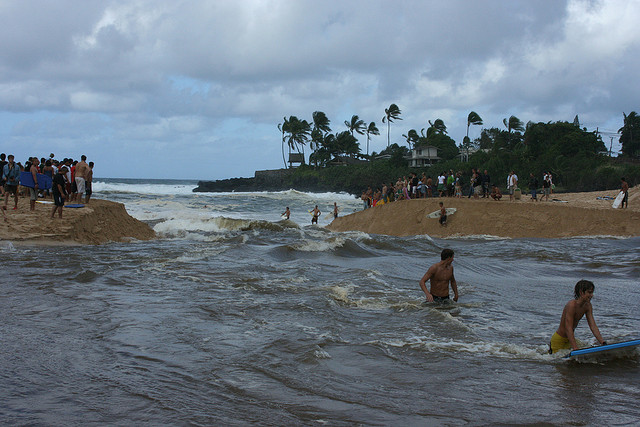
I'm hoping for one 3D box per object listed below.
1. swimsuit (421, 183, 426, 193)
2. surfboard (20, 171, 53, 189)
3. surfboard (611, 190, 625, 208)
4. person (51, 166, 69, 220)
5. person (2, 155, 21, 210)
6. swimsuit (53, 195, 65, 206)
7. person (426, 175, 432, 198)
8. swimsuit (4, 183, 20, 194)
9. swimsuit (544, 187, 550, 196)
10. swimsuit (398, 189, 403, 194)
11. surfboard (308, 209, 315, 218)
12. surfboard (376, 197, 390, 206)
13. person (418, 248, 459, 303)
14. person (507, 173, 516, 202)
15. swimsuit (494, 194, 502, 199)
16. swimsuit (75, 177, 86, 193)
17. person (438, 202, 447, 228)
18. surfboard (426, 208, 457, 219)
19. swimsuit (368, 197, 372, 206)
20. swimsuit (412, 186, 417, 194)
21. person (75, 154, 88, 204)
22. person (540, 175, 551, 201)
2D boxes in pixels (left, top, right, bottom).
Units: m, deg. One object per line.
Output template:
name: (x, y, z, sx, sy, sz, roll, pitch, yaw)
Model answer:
swimsuit: (5.125, -1.254, 28.656, 0.244, 0.460, 0.353, 5, 12, 8)
surfboard: (-9.451, -1.110, 19.418, 0.950, 0.577, 0.351, -3, 14, -26)
surfboard: (12.984, -0.629, 25.323, 0.358, 0.849, 0.539, 6, 13, 15)
person: (-8.318, -0.657, 18.602, 0.510, 1.693, 0.833, -3, 14, -24)
person: (-10.390, -1.104, 19.644, 0.541, 1.602, 1.597, -4, 14, -27)
swimsuit: (-8.284, -0.425, 18.483, 0.238, 0.384, 0.360, 0, 12, -12)
person: (5.393, -1.265, 28.807, 0.234, 0.888, 0.996, 5, 12, 9)
swimsuit: (-10.458, -0.873, 19.783, 0.437, 0.304, 0.238, 3, -8, -42)
swimsuit: (11.432, -1.099, 29.369, 0.276, 0.463, 0.358, 3, -7, -2)
swimsuit: (4.397, -1.215, 31.651, 0.265, 0.284, 0.259, 1, 1, 13)
surfboard: (-0.616, 0.047, 42.557, 0.263, 0.262, 2.444, -37, -15, 2)
surfboard: (3.231, -0.585, 30.497, 0.464, 0.228, 0.594, 9, 21, 27)
person: (2.799, 1.430, 13.374, 0.852, 1.332, 0.836, 6, 13, 13)
person: (8.972, -1.238, 27.150, 0.315, 1.351, 0.956, 7, 13, 17)
swimsuit: (8.309, -0.802, 27.117, 0.457, 0.207, 0.513, 3, 5, 22)
swimsuit: (-8.499, -1.014, 20.753, 0.302, 0.545, 0.300, -4, 14, -28)
person: (5.439, 0.096, 25.491, 0.349, 1.057, 0.419, 5, 13, 9)
surfboard: (5.420, -0.001, 25.820, 0.165, 0.387, 1.663, -10, -1, -38)
swimsuit: (2.887, -0.668, 33.272, 0.229, 0.518, 0.441, 4, 12, 4)
swimsuit: (4.738, -1.163, 29.044, 0.148, 0.371, 0.195, 4, 13, 7)
person: (-8.458, -1.203, 20.728, 0.433, 1.691, 0.733, -2, 14, -23)
person: (11.387, -1.315, 29.181, 0.312, 1.175, 1.343, 8, 13, 20)
